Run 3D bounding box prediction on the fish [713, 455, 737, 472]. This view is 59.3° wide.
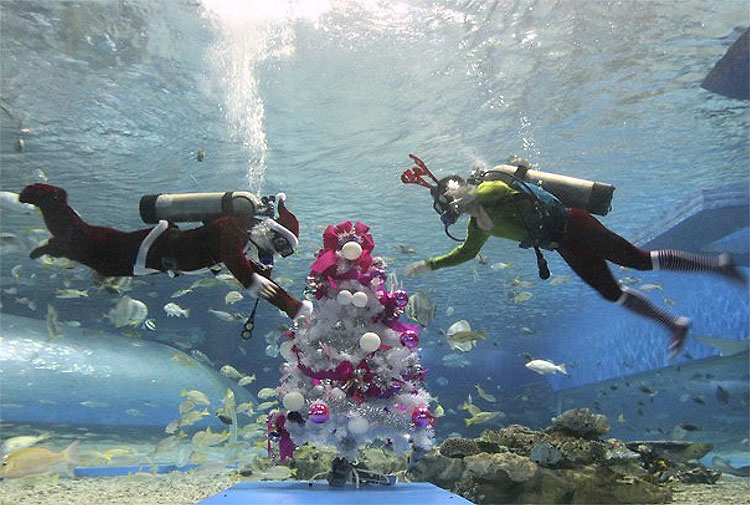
[{"bbox_3d":[13.635,8.250,25.846,1.195,0.277,1.052,5,2,6],"label":"fish"}]

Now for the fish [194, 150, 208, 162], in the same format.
[{"bbox_3d":[-5.677,-3.185,21.578,0.522,0.316,0.270,-16,2,42],"label":"fish"}]
